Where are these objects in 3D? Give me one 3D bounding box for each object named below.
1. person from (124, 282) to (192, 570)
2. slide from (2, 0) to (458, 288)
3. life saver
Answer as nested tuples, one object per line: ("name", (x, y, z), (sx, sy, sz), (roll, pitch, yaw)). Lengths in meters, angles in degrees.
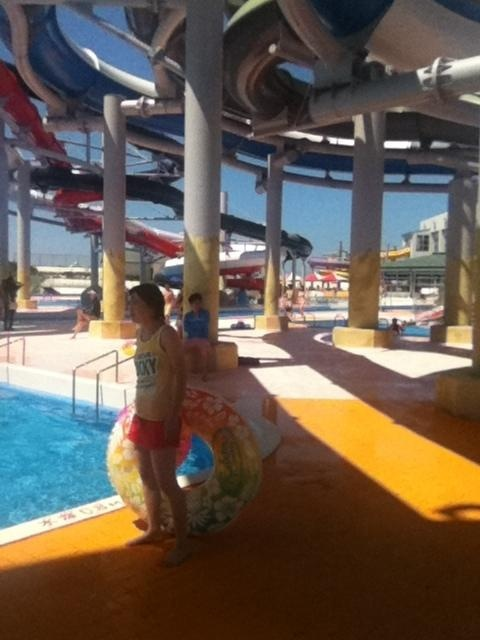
("person", (-0.383, 0.479, 2.336), (0.251, 1.308, 0.431), (-2, 4, -44))
("slide", (1.000, -6.102, 14.778), (9.778, 2.594, 9.145), (10, 8, 29))
("life saver", (-0.162, 0.783, 2.881), (0.780, 0.850, 0.210), (-11, -15, -3))
